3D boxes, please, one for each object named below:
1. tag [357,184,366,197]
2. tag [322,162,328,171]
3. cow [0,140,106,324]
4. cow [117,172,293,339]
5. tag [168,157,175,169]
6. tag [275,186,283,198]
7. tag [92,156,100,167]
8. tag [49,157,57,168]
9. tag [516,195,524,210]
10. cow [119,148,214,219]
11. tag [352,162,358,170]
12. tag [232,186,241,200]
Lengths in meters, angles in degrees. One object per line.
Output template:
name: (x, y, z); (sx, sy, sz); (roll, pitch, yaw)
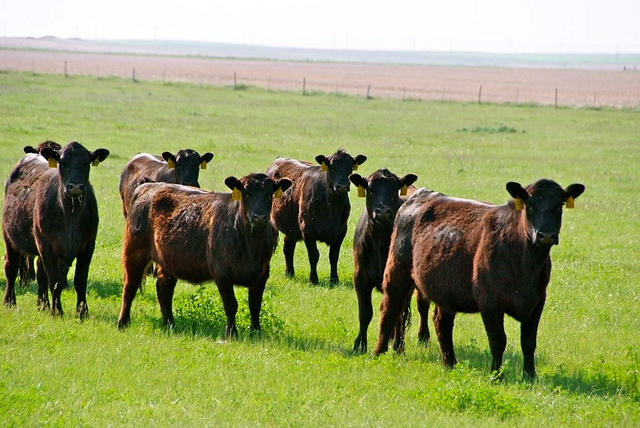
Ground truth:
tag: (1.006, -0.527, 20.626); (0.189, 0.341, 0.207); (-1, 1, 9)
tag: (0.150, -1.291, 24.020); (0.141, 0.263, 0.224); (1, 9, -6)
cow: (-6.507, 0.232, 21.133); (1.811, 3.989, 3.366); (-5, 12, -35)
cow: (-2.647, 0.994, 20.614); (5.563, 3.886, 1.844); (4, 8, 42)
tag: (-4.292, -1.435, 25.376); (0.234, 0.251, 0.209); (22, 21, 36)
tag: (-0.928, -0.476, 20.091); (0.160, 0.259, 0.238); (0, -6, 8)
tag: (-5.489, -1.261, 21.442); (0.203, 0.215, 0.188); (-4, 13, -17)
tag: (-6.443, -1.218, 21.142); (0.172, 0.296, 0.249); (2, -1, -4)
tag: (4.175, -0.231, 18.176); (0.165, 0.301, 0.067); (1, 9, -1)
cow: (-4.423, -0.727, 27.127); (1.497, 2.602, 4.683); (3, 5, -15)
tag: (0.986, -1.294, 24.173); (0.095, 0.177, 0.328); (-4, 2, -13)
tag: (-1.863, -0.452, 19.700); (0.150, 0.271, 0.263); (-2, 19, -3)
